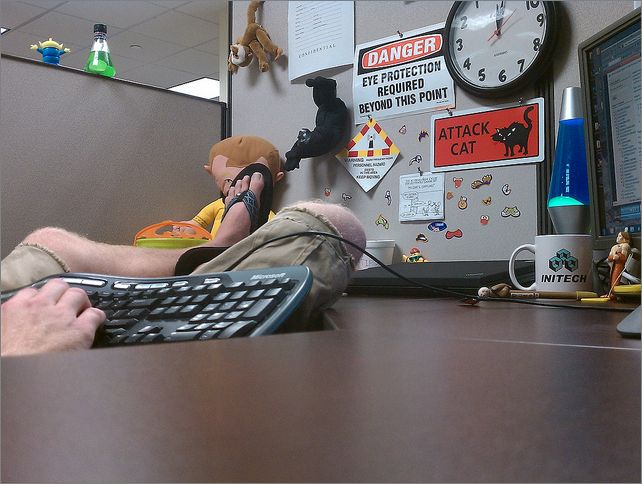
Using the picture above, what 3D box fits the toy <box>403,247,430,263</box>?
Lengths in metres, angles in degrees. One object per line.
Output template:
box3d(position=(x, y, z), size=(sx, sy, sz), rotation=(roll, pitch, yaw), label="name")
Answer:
box3d(position=(0.193, 0.025, 1.006), size=(0.056, 0.030, 0.021), rotation=(-6, -8, 30), label="toy")

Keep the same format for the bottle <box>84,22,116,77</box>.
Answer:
box3d(position=(-0.589, -0.509, 1.320), size=(0.068, 0.137, 0.064), rotation=(-3, 1, 0), label="bottle")

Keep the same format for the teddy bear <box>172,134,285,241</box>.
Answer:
box3d(position=(-0.213, -0.128, 1.133), size=(0.229, 0.328, 0.172), rotation=(-2, -11, 13), label="teddy bear")

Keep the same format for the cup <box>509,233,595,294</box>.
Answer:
box3d(position=(0.291, 0.034, 0.629), size=(0.095, 0.079, 0.062), rotation=(-3, -15, 27), label="cup")

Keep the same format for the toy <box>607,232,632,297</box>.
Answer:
box3d(position=(0.363, 0.020, 0.596), size=(0.023, 0.069, 0.058), rotation=(6, 3, 32), label="toy")

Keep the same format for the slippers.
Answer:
box3d(position=(-0.160, -0.117, 1.116), size=(0.082, 0.235, 0.059), rotation=(0, -3, 37), label="slippers")

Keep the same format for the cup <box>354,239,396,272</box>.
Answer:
box3d(position=(0.120, 0.032, 0.995), size=(0.059, 0.068, 0.063), rotation=(1, -9, 0), label="cup")

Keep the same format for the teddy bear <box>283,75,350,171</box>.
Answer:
box3d(position=(0.010, -0.280, 1.243), size=(0.160, 0.306, 0.180), rotation=(4, 4, 5), label="teddy bear")
